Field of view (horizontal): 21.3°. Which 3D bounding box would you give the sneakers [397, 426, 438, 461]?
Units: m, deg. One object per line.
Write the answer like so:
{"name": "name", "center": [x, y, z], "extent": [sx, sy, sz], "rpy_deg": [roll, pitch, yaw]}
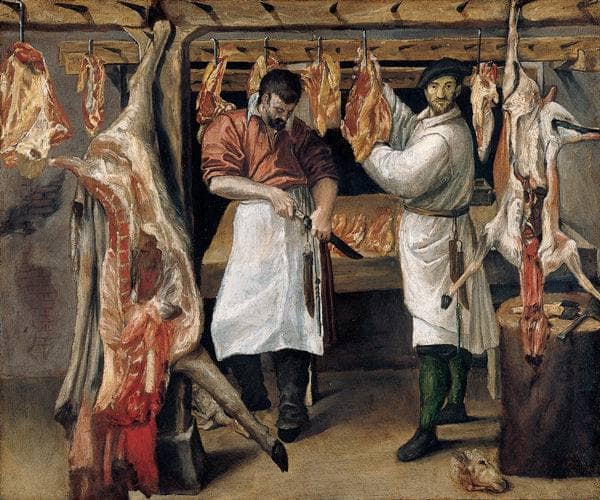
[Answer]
{"name": "sneakers", "center": [0.815, 1.347, 11.175], "extent": [0.331, 0.250, 0.155], "rpy_deg": [-9, 9, -19]}

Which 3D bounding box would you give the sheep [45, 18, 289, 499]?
{"name": "sheep", "center": [-1.129, 0.114, 11.511], "extent": [1.074, 3.195, 0.668], "rpy_deg": [-1, 0, -2]}
